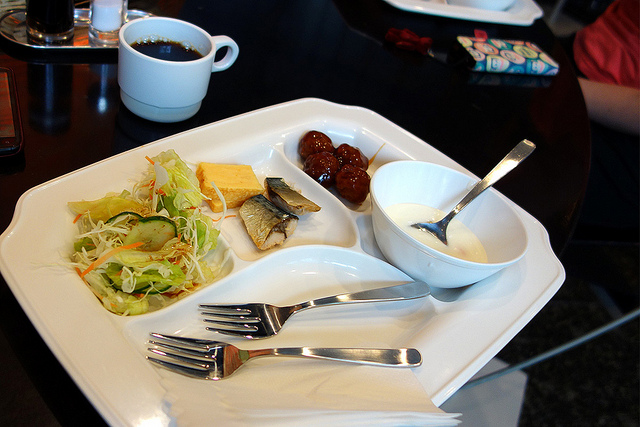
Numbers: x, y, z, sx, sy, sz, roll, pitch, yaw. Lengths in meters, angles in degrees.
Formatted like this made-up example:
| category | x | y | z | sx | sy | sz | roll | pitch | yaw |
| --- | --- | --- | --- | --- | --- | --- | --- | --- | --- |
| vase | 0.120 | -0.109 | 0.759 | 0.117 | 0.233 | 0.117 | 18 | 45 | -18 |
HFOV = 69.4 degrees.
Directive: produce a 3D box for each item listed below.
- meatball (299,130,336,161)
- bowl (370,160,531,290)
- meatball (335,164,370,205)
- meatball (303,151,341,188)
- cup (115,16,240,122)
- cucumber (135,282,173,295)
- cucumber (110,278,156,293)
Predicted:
| category | x | y | z | sx | sy | sz | roll | pitch | yaw |
| --- | --- | --- | --- | --- | --- | --- | --- | --- | --- |
| meatball | -0.010 | -0.256 | 1.698 | 0.111 | 0.065 | 0.094 | 23 | 60 | 4 |
| bowl | 0.392 | 0.048 | 1.498 | 0.502 | 0.207 | 0.519 | 13 | 34 | -9 |
| meatball | 0.115 | -0.103 | 1.624 | 0.104 | 0.138 | 0.111 | 10 | 90 | 3 |
| meatball | 0.009 | -0.160 | 1.648 | 0.115 | 0.068 | 0.126 | 5 | 76 | -4 |
| cup | -0.514 | -0.527 | 1.696 | 0.415 | 0.258 | 0.320 | -10 | 51 | -30 |
| cucumber | -0.458 | 0.214 | 1.304 | 0.065 | 0.043 | 0.011 | -14 | 44 | -23 |
| cucumber | -0.527 | 0.200 | 1.273 | 0.108 | 0.040 | 0.025 | 11 | 49 | -15 |
